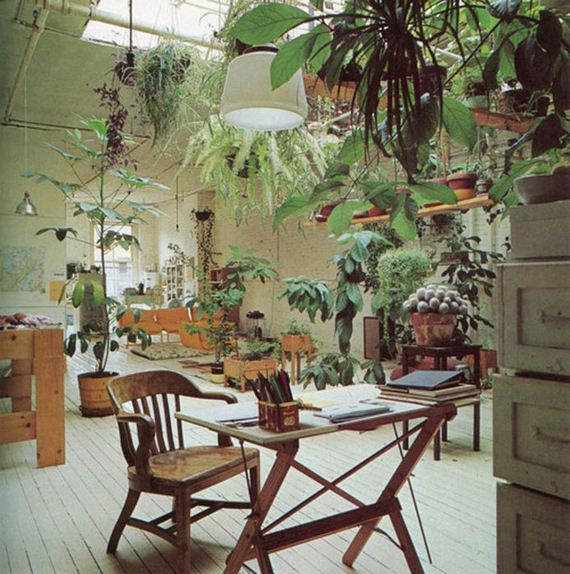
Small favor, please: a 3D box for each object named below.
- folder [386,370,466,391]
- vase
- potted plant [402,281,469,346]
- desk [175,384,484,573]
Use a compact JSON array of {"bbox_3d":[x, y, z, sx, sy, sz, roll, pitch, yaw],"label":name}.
[{"bbox_3d":[0.595,0.387,2.107,0.159,0.034,0.151,-6,5,-42],"label":"folder"},{"bbox_3d":[1.173,-0.678,4.198,0.924,0.281,1.235,-5,0,-15],"label":"vase"},{"bbox_3d":[1.081,0.181,3.703,0.475,0.408,0.439,0,2,12],"label":"potted plant"},{"bbox_3d":[0.249,1.017,2.588,1.147,0.724,0.638,2,-6,-33],"label":"desk"}]
